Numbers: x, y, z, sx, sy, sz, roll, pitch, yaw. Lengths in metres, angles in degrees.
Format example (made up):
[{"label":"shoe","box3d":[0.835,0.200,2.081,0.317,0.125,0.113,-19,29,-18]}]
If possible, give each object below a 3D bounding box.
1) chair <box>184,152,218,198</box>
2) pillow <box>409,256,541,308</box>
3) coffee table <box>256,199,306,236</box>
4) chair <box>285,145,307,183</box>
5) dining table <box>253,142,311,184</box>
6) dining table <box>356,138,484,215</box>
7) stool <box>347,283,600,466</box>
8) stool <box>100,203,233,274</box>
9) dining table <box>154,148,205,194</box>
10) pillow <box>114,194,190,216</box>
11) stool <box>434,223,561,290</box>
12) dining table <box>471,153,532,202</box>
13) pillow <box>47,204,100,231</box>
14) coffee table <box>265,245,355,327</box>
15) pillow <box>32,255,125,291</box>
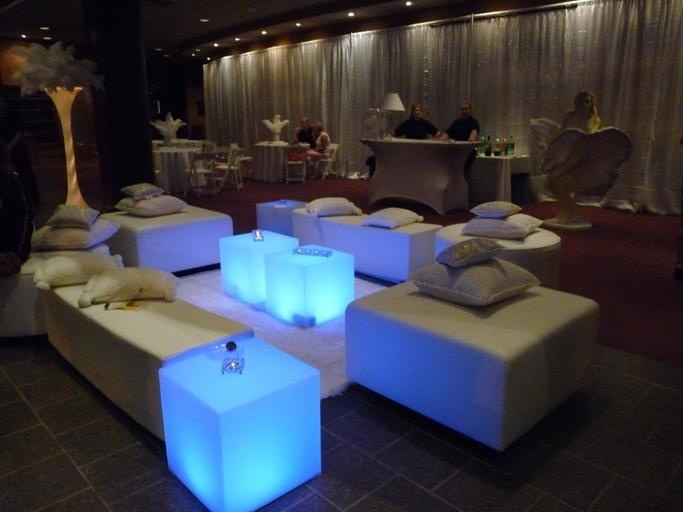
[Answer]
[{"label":"chair","box3d":[-2.570,-1.502,8.878,0.551,0.778,0.632,2,14,-3]},{"label":"pillow","box3d":[0.711,0.145,2.769,0.393,0.139,0.350,-13,17,-36]},{"label":"coffee table","box3d":[-0.674,-0.474,5.572,0.428,0.456,0.441,7,12,39]},{"label":"chair","box3d":[-0.967,-1.975,10.262,0.440,0.830,0.507,-1,22,-9]},{"label":"dining table","box3d":[-1.356,-2.026,10.414,0.911,0.639,0.944,14,26,29]},{"label":"dining table","box3d":[1.119,-1.233,7.326,1.783,1.059,0.877,15,24,42]},{"label":"stool","box3d":[0.603,0.477,2.621,0.863,0.491,0.886,13,22,43]},{"label":"stool","box3d":[-1.591,-0.146,4.629,0.756,0.446,0.751,-12,17,-41]},{"label":"dining table","box3d":[-3.173,-1.628,9.355,0.784,0.754,0.796,-6,14,-42]},{"label":"pillow","box3d":[-1.947,-0.511,4.952,0.327,0.123,0.385,8,14,37]},{"label":"stool","box3d":[1.410,-0.027,3.989,0.638,0.492,0.667,-4,9,-2]},{"label":"dining table","box3d":[2.533,-1.147,7.759,0.808,0.652,0.836,2,9,32]},{"label":"pillow","box3d":[-2.214,-0.314,3.956,0.260,0.090,0.287,7,26,-2]},{"label":"coffee table","box3d":[-0.246,0.152,3.818,0.577,0.570,0.573,-20,26,-36]},{"label":"pillow","box3d":[-1.833,0.063,3.332,0.499,0.157,0.349,-21,35,-37]}]
